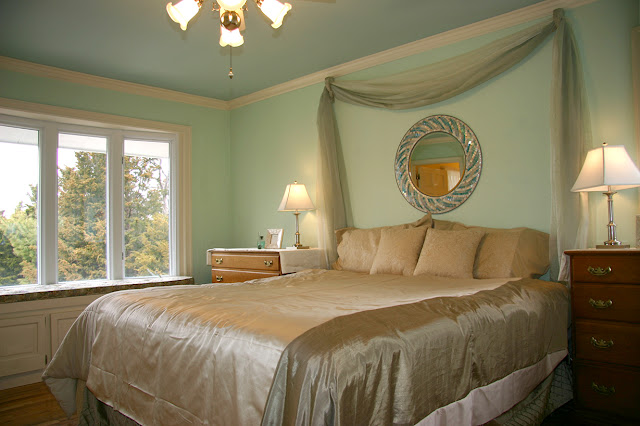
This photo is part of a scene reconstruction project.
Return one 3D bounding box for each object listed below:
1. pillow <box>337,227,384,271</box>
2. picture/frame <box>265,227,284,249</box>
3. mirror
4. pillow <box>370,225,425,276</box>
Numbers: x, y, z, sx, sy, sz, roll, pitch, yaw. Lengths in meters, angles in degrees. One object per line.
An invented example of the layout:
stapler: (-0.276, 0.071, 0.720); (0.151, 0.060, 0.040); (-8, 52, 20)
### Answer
pillow: (0.435, 0.369, 4.561); (0.430, 0.432, 0.165); (3, -23, 47)
picture/frame: (-0.579, 0.319, 5.568); (0.027, 0.229, 0.255); (14, -13, -38)
mirror: (1.249, -0.505, 4.546); (1.051, 1.179, 0.055); (-3, -6, 31)
pillow: (0.744, 0.337, 4.173); (0.488, 0.457, 0.155); (-3, -30, 47)
